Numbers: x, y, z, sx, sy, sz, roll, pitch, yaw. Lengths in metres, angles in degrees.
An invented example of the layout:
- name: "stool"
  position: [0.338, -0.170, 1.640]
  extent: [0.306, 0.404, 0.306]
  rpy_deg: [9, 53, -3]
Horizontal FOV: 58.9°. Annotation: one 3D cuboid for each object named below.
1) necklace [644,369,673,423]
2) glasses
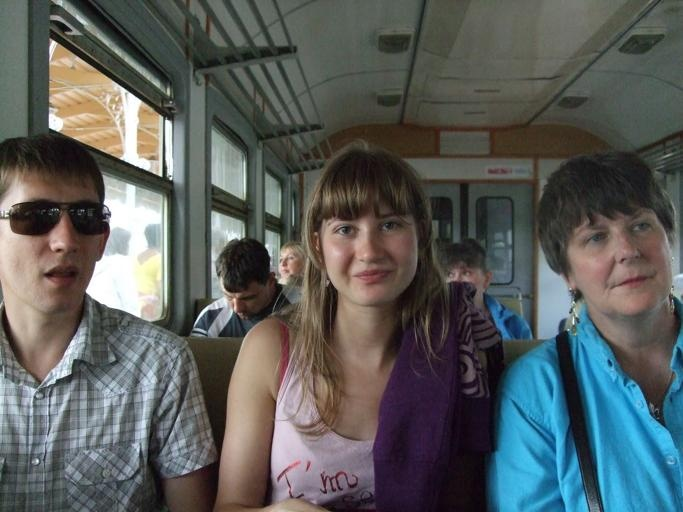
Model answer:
- name: "necklace"
  position: [1.365, 0.605, 2.627]
  extent: [0.050, 0.196, 0.183]
  rpy_deg: [6, 6, 2]
- name: "glasses"
  position: [-1.245, -0.176, 2.627]
  extent: [0.218, 0.075, 0.217]
  rpy_deg: [4, -21, -34]
